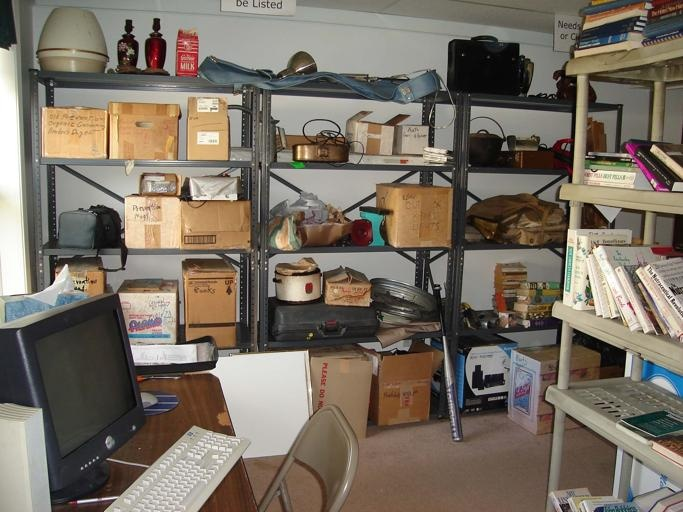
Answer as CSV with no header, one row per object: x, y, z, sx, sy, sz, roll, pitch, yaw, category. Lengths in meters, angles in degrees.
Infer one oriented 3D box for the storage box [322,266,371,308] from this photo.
0.029,0.217,3.769,0.321,0.244,0.272,2,12,-13,storage box

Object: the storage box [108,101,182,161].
-1.147,-0.730,3.246,0.403,0.329,0.170,-4,15,-20,storage box

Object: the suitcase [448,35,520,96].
0.976,-1.299,4.026,0.560,0.431,0.475,0,8,-13,suitcase

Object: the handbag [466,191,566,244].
1.251,-0.253,3.901,0.537,0.188,0.430,-6,23,-13,handbag

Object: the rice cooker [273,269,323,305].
-0.275,0.180,3.641,0.285,0.213,0.240,1,11,-23,rice cooker

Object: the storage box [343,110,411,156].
0.233,-0.808,3.637,0.393,0.278,0.246,1,13,-1,storage box

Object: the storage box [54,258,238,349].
-1.149,0.279,3.835,1.170,0.544,0.640,1,10,-18,storage box

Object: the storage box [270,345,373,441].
-0.146,0.833,3.687,0.631,0.756,0.571,1,10,-5,storage box

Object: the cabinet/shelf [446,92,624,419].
1.057,0.019,4.007,1.400,2.262,0.672,0,10,-20,cabinet/shelf

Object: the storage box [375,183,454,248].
0.490,-0.287,3.695,0.460,0.408,0.423,0,10,-19,storage box

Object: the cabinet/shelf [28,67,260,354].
-1.475,-0.341,3.833,1.517,1.670,0.775,1,13,-16,cabinet/shelf

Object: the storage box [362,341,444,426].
0.367,0.853,3.946,0.655,0.603,0.483,0,12,-5,storage box

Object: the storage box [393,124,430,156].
0.469,-0.778,3.739,0.231,0.199,0.217,0,8,2,storage box
